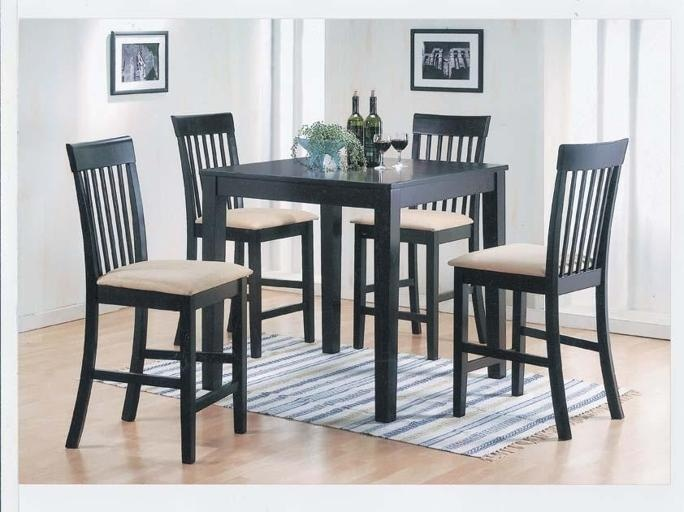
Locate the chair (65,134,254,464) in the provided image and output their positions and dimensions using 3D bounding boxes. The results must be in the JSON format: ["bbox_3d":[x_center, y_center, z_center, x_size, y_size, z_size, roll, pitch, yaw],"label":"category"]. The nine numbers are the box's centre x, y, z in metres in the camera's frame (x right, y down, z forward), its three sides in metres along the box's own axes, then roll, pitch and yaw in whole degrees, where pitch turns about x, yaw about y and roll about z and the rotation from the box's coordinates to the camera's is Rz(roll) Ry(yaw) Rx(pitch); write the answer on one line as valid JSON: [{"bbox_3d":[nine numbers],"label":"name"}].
[{"bbox_3d":[-0.613,0.120,2.278,0.539,1.030,0.421,3,11,15],"label":"chair"}]

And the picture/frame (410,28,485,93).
[{"bbox_3d":[0.625,-1.135,3.867,0.405,0.324,0.017,4,8,24],"label":"picture/frame"}]

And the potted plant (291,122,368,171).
[{"bbox_3d":[-0.081,-0.489,2.932,0.267,0.138,0.258,-3,16,-28],"label":"potted plant"}]

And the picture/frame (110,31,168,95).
[{"bbox_3d":[-1.217,-1.147,4.013,0.414,0.339,0.020,7,10,24],"label":"picture/frame"}]

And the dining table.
[{"bbox_3d":[0.079,0.047,2.952,1.155,1.146,1.174,4,6,34],"label":"dining table"}]

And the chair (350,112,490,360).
[{"bbox_3d":[0.399,-0.092,3.302,0.598,1.143,0.542,-12,16,-40],"label":"chair"}]

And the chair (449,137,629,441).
[{"bbox_3d":[0.728,0.098,2.511,0.569,0.997,0.563,3,6,31],"label":"chair"}]
